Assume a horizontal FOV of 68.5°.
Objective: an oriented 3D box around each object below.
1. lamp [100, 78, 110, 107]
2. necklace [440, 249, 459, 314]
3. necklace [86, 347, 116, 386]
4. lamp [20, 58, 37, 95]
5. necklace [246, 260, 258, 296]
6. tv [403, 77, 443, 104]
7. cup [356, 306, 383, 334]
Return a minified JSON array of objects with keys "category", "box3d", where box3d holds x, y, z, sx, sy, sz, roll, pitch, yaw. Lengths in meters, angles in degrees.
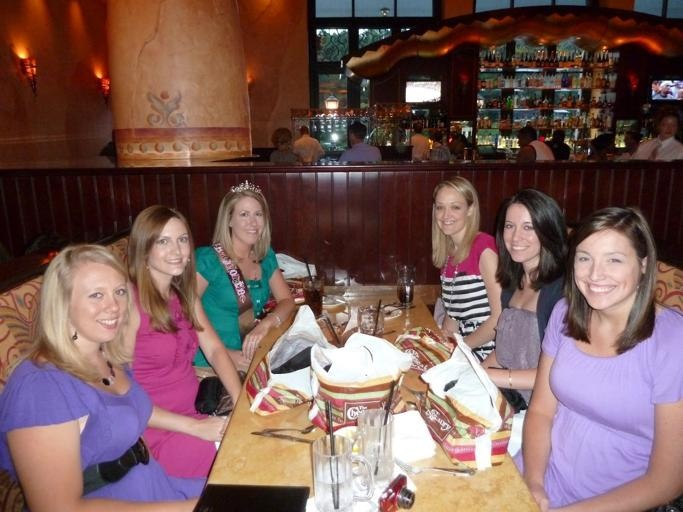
[{"category":"lamp","box3d":[-4.372,-3.069,9.270,0.158,0.462,0.436,-9,13,-21]},{"category":"necklace","box3d":[0.646,0.192,3.020,0.062,0.298,0.164,3,-8,-5]},{"category":"necklace","box3d":[-0.938,0.430,1.976,0.103,0.139,0.047,-42,-24,32]},{"category":"lamp","box3d":[-4.301,-2.520,6.910,0.105,0.479,0.321,-7,12,-12]},{"category":"necklace","box3d":[-0.529,0.121,3.004,0.099,0.153,0.035,5,-12,-20]},{"category":"tv","box3d":[1.638,-3.316,10.054,0.716,0.471,0.136,-3,12,5]},{"category":"cup","box3d":[0.133,0.301,2.357,0.111,0.137,0.121,1,-1,0]}]
